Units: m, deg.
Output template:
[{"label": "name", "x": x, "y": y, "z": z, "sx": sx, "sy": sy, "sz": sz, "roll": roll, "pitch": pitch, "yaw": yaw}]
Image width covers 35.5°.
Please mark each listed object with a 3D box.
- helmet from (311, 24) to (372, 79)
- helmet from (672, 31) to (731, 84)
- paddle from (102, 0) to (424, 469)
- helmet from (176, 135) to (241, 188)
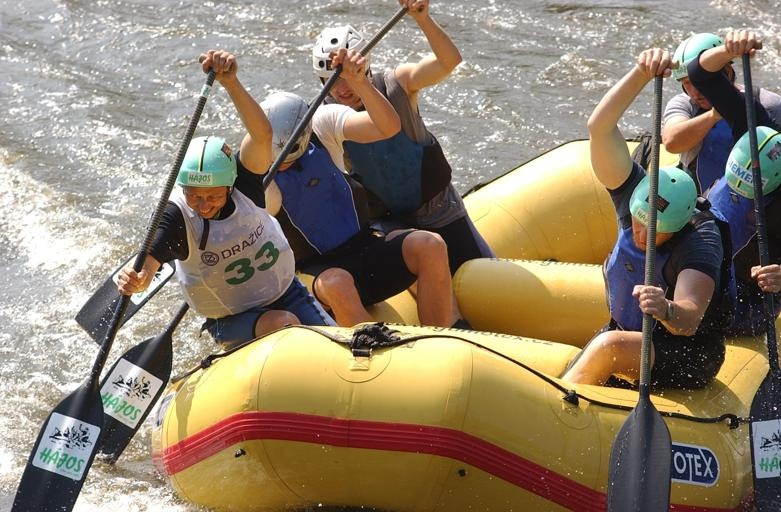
[{"label": "helmet", "x": -0.403, "y": -1.633, "z": 9.810, "sx": 0.414, "sy": 0.395, "sz": 0.466, "roll": -3, "pitch": 18, "yaw": 2}, {"label": "helmet", "x": 2.490, "y": -1.574, "z": 9.706, "sx": 0.475, "sy": 0.353, "sz": 0.348, "roll": -1, "pitch": -11, "yaw": -28}, {"label": "paddle", "x": -1.030, "y": -0.089, "z": 9.711, "sx": 0.652, "sy": 0.406, "sz": 5.511, "roll": 37, "pitch": 74, "yaw": -4}, {"label": "helmet", "x": -1.325, "y": -0.715, "z": 8.800, "sx": 0.431, "sy": 0.325, "sz": 0.556, "roll": 2, "pitch": 28, "yaw": -2}]
